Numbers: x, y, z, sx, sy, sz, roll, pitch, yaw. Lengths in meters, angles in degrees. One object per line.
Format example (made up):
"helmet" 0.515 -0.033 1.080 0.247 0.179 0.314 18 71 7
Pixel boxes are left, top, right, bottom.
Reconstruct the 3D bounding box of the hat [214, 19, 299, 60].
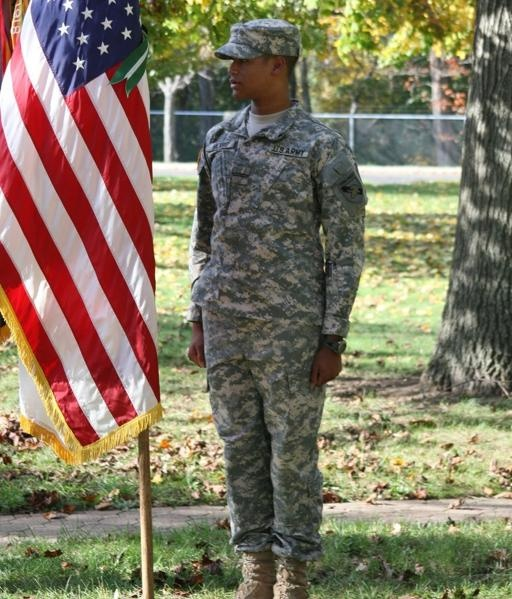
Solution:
"hat" -0.004 -1.226 5.816 0.449 0.165 0.294 -8 26 -19

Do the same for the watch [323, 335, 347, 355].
"watch" 0.347 0.215 5.829 0.122 0.067 0.118 5 -11 34
